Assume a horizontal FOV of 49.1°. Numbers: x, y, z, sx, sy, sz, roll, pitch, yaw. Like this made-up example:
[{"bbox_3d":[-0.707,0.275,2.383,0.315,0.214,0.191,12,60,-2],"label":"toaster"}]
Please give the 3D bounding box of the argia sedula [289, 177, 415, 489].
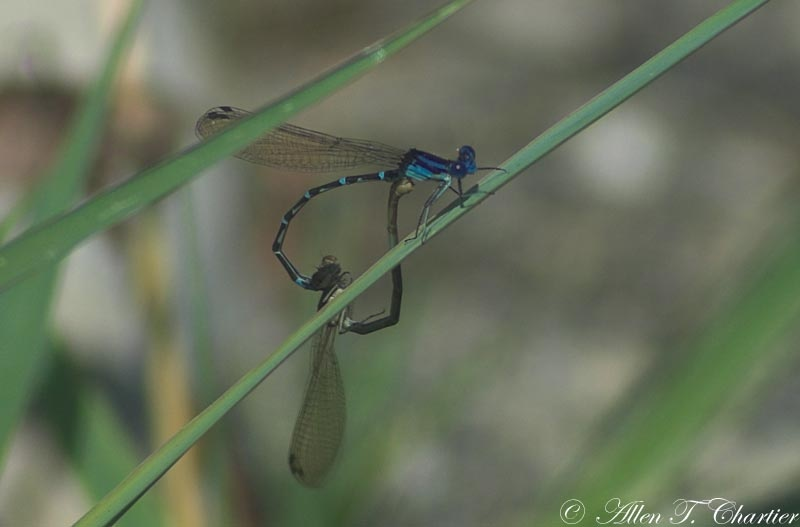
[{"bbox_3d":[-0.137,0.138,1.836,0.197,0.620,0.096,4,-3,4],"label":"argia sedula"}]
